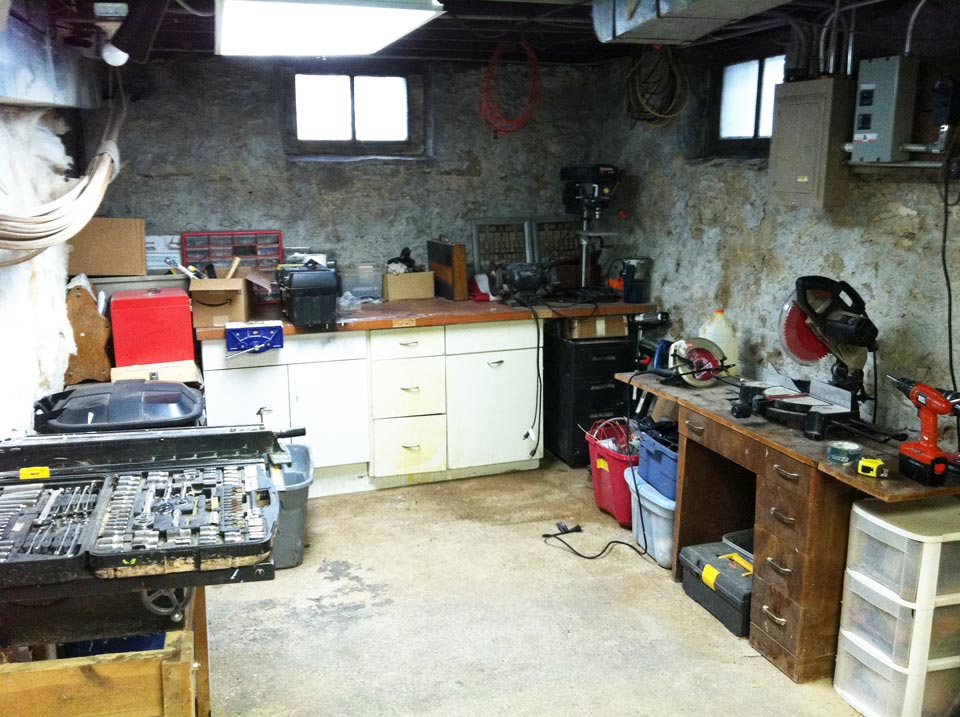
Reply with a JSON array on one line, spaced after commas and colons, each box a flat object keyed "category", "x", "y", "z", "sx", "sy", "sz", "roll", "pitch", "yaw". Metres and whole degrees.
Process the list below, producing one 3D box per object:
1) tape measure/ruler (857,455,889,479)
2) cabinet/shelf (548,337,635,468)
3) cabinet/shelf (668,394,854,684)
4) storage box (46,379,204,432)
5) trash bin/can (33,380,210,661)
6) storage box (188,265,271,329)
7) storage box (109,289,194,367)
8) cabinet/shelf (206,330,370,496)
[{"category": "tape measure/ruler", "x": 1.485, "y": 0.412, "z": 2.965, "sx": 0.110, "sy": 0.071, "sz": 0.079, "roll": 1, "pitch": 11, "yaw": 26}, {"category": "cabinet/shelf", "x": 0.703, "y": 0.246, "z": 5.285, "sx": 0.513, "sy": 0.763, "sz": 0.529, "roll": -4, "pitch": 11, "yaw": -15}, {"category": "cabinet/shelf", "x": 1.341, "y": 0.741, "z": 3.684, "sx": 0.466, "sy": 0.982, "sz": 1.080, "roll": -3, "pitch": 14, "yaw": -13}, {"category": "storage box", "x": -1.479, "y": 0.200, "z": 3.230, "sx": 0.471, "sy": 0.127, "sz": 0.270, "roll": -1, "pitch": 18, "yaw": -18}, {"category": "trash bin/can", "x": -1.427, "y": 0.627, "z": 3.190, "sx": 0.650, "sy": 0.985, "sz": 0.890, "roll": -8, "pitch": 11, "yaw": -18}, {"category": "storage box", "x": -1.492, "y": -0.396, "z": 4.640, "sx": 0.590, "sy": 0.254, "sz": 0.771, "roll": -4, "pitch": 17, "yaw": -8}, {"category": "storage box", "x": -1.765, "y": -0.192, "z": 4.256, "sx": 0.407, "sy": 0.348, "sz": 0.407, "roll": -3, "pitch": 13, "yaw": -16}, {"category": "cabinet/shelf", "x": -1.019, "y": 0.216, "z": 4.086, "sx": 0.974, "sy": 0.865, "sz": 0.330, "roll": -3, "pitch": 12, "yaw": -13}]
